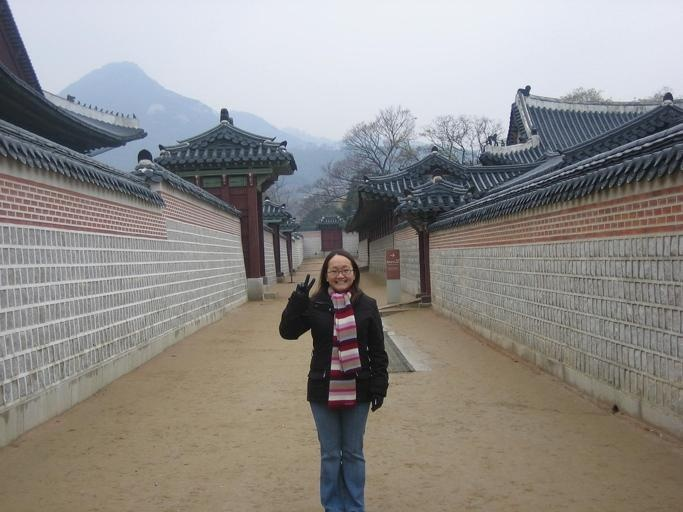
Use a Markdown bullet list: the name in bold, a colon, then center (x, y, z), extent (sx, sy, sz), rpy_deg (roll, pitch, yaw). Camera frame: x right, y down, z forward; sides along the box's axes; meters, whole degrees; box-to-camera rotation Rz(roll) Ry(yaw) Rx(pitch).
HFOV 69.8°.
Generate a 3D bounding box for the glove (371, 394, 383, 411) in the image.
- **glove**: center (0.269, 1.114, 3.709), extent (0.078, 0.172, 0.210), rpy_deg (-1, 4, 1)
